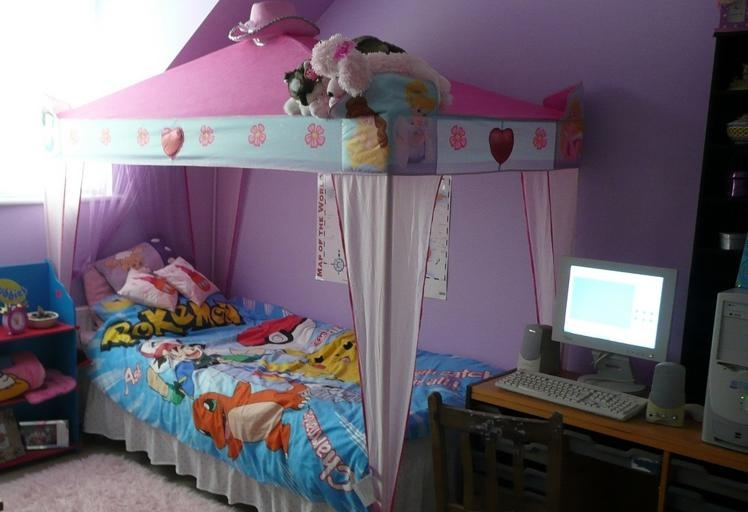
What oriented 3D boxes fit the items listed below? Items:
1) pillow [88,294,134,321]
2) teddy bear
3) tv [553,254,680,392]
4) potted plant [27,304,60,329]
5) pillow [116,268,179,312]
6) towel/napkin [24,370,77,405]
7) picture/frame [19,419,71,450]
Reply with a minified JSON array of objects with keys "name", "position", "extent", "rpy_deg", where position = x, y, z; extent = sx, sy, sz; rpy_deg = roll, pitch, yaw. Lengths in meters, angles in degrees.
[{"name":"pillow","position":[-1.947,0.375,3.976],"extent":[0.205,0.059,0.214],"rpy_deg":[-23,37,-38]},{"name":"teddy bear","position":[-0.044,-0.669,2.247],"extent":[0.515,0.268,0.421],"rpy_deg":[-5,11,-17]},{"name":"tv","position":[1.271,0.346,2.770],"extent":[0.655,0.691,0.264],"rpy_deg":[7,10,42]},{"name":"potted plant","position":[-2.263,0.410,3.679],"extent":[0.163,0.088,0.179],"rpy_deg":[1,1,-13]},{"name":"pillow","position":[-1.663,0.265,4.014],"extent":[0.336,0.114,0.323],"rpy_deg":[24,27,2]},{"name":"towel/napkin","position":[-2.152,0.887,3.560],"extent":[0.249,0.036,0.230],"rpy_deg":[19,23,37]},{"name":"picture/frame","position":[-2.209,1.205,3.577],"extent":[0.209,0.148,0.022],"rpy_deg":[0,2,-13]}]
